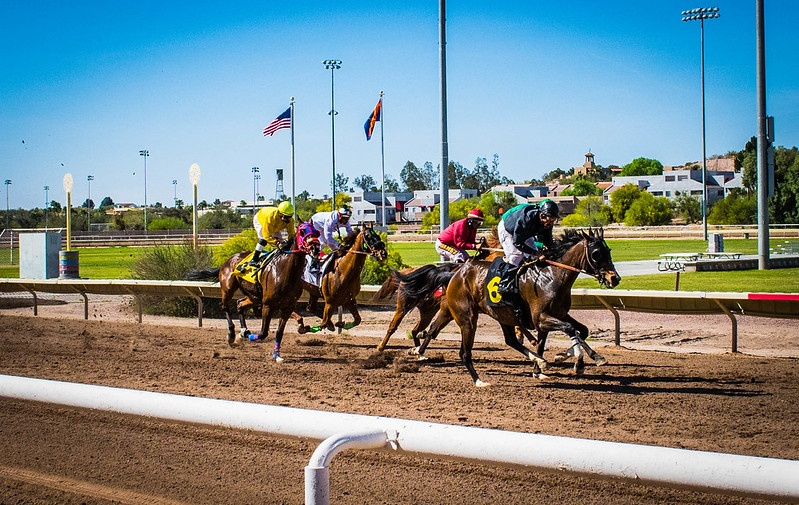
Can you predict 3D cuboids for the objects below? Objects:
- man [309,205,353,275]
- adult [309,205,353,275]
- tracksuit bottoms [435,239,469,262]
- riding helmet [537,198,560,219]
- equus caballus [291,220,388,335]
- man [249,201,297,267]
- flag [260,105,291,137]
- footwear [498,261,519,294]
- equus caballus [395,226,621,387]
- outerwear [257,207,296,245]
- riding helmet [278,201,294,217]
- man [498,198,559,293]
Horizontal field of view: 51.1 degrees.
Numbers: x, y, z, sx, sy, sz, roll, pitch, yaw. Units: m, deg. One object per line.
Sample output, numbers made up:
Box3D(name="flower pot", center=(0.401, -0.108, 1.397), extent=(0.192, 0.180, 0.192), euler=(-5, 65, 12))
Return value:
Box3D(name="man", center=(-1.262, -0.335, 13.217), extent=(1.000, 0.811, 0.474), euler=(6, 6, -10))
Box3D(name="adult", center=(-0.922, -0.377, 13.199), extent=(0.904, 0.676, 0.427), euler=(-12, -12, 35))
Box3D(name="tracksuit bottoms", center=(0.831, 0.039, 13.006), extent=(0.466, 0.152, 0.298), euler=(26, -14, 27))
Box3D(name="riding helmet", center=(1.857, -0.528, 10.291), extent=(0.242, 0.227, 0.380), euler=(0, 5, 8))
Box3D(name="equus caballus", center=(-1.085, 0.526, 13.140), extent=(0.628, 1.617, 2.448), euler=(6, -9, -40))
Box3D(name="man", center=(-2.040, -0.338, 13.302), extent=(0.532, 1.223, 0.861), euler=(-10, 30, -42))
Box3D(name="flag", center=(-4.660, -5.144, 32.634), extent=(0.992, 1.128, 2.737), euler=(-1, 5, -7))
Box3D(name="footwear", center=(1.362, 0.315, 10.252), extent=(0.200, 0.354, 0.210), euler=(2, 6, 28))
Box3D(name="equus caballus", center=(1.240, 0.723, 10.712), extent=(3.138, 2.092, 0.825), euler=(1, -1, 35))
Box3D(name="outerwear", center=(-1.938, -0.428, 13.210), extent=(0.599, 0.622, 0.478), euler=(9, 27, 24))
Box3D(name="riding helmet", center=(-1.726, -0.678, 13.028), extent=(0.194, 0.234, 0.251), euler=(-1, 0, -33))
Box3D(name="man", center=(1.613, -0.099, 10.610), extent=(0.546, 1.246, 0.898), euler=(-11, 18, -38))
